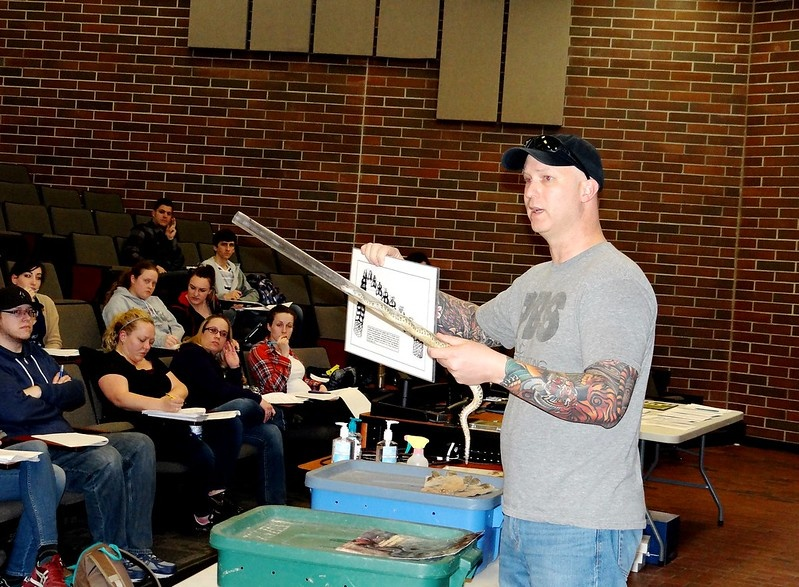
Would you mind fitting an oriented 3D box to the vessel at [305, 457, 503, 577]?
[{"bbox_3d":[0.027,0.727,2.625,0.670,0.207,0.394,2,4,19],"label":"vessel"}]

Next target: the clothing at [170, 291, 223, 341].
[{"bbox_3d":[-1.580,0.178,5.839,0.456,0.329,0.233,-11,4,-37],"label":"clothing"}]

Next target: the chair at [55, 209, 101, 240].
[{"bbox_3d":[-3.226,-0.711,7.479,0.173,0.261,0.441,6,4,22],"label":"chair"}]

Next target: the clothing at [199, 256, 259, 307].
[{"bbox_3d":[-1.846,-0.139,7.537,0.722,0.413,0.256,-1,11,34],"label":"clothing"}]

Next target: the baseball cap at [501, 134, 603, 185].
[{"bbox_3d":[0.465,-0.413,2.468,0.257,0.057,0.236,-11,-15,13],"label":"baseball cap"}]

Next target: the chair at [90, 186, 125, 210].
[{"bbox_3d":[-3.278,-1.020,8.401,0.199,0.190,0.419,6,4,30],"label":"chair"}]

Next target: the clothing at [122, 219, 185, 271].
[{"bbox_3d":[-2.403,-0.460,7.337,0.739,0.426,0.376,8,-14,-42],"label":"clothing"}]

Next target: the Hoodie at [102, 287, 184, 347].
[{"bbox_3d":[-2.009,0.132,5.893,0.456,0.148,0.329,16,37,30],"label":"Hoodie"}]

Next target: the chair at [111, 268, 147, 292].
[{"bbox_3d":[-2.099,-0.124,5.799,0.257,0.126,0.183,-13,14,32],"label":"chair"}]

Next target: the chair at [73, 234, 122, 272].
[{"bbox_3d":[-2.788,-0.364,6.929,0.425,0.411,0.386,-3,-4,36],"label":"chair"}]
